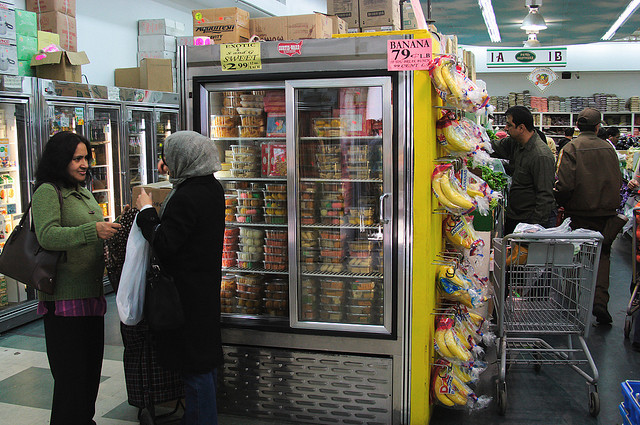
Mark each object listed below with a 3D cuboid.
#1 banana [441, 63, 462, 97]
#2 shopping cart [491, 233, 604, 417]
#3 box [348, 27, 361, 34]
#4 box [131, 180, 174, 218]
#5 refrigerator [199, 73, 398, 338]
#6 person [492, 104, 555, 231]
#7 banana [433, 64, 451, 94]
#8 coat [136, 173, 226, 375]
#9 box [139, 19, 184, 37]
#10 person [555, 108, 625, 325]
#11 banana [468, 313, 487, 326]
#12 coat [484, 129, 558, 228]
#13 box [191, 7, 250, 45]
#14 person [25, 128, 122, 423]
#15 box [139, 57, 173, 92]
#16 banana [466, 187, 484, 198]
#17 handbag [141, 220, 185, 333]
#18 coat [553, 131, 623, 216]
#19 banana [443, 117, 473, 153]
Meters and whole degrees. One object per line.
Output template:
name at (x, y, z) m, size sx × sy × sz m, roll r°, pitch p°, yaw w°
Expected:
banana at (1.022, -1.036, 3.616) m, size 0.161 × 0.212 × 0.058 m, roll -20°, pitch -6°, yaw -41°
shopping cart at (2.144, 0.929, 4.393) m, size 0.935 × 1.600 × 1.330 m, roll 2°, pitch 6°, yaw 28°
box at (0.326, -1.712, 4.327) m, size 0.130 × 0.050 × 0.040 m, roll 0°, pitch 6°, yaw 7°
box at (-1.518, -0.183, 4.135) m, size 0.405 × 0.388 × 0.257 m, roll 2°, pitch 7°, yaw -30°
refrigerator at (-0.169, -0.084, 4.209) m, size 1.760 × 2.179 × 0.670 m, roll 0°, pitch 6°, yaw 11°
person at (2.337, -0.481, 5.315) m, size 0.603 × 1.503 × 0.946 m, roll 1°, pitch 6°, yaw 13°
banana at (0.945, -1.053, 3.644) m, size 0.072 × 0.193 × 0.142 m, roll -12°, pitch 0°, yaw 32°
coat at (-1.071, 0.563, 3.554) m, size 0.654 × 1.656 × 0.717 m, roll 2°, pitch 0°, yaw 2°
box at (-3.142, -3.608, 9.048) m, size 0.614 × 0.273 × 0.425 m, roll 2°, pitch 4°, yaw 23°
person at (3.360, 0.036, 5.755) m, size 0.815 × 2.653 × 0.415 m, roll 0°, pitch 6°, yaw 13°
banana at (1.382, 0.930, 4.052) m, size 0.134 × 0.041 × 0.131 m, roll 6°, pitch 17°, yaw -21°
coat at (2.226, -0.377, 5.218) m, size 0.647 × 1.933 × 0.625 m, roll 1°, pitch 5°, yaw 12°
box at (-0.907, -1.695, 4.217) m, size 0.596 × 0.361 × 0.317 m, roll 3°, pitch 10°, yaw 22°
person at (-1.926, 0.539, 3.562) m, size 0.570 × 2.308 × 0.492 m, roll -4°, pitch 6°, yaw -31°
box at (-2.848, -2.490, 8.251) m, size 0.447 × 0.745 × 0.413 m, roll -3°, pitch 48°, yaw -15°
banana at (1.323, -0.168, 3.949) m, size 0.175 × 0.067 × 0.057 m, roll 20°, pitch 18°, yaw -5°
handbag at (-1.185, 0.494, 3.345) m, size 0.430 × 0.876 × 0.210 m, roll 4°, pitch 7°, yaw 40°
coat at (3.379, -0.528, 5.952) m, size 0.815 × 1.269 × 0.665 m, roll 2°, pitch 12°, yaw 13°
banana at (1.180, -0.625, 3.803) m, size 0.081 × 0.118 × 0.305 m, roll -27°, pitch -24°, yaw -23°
